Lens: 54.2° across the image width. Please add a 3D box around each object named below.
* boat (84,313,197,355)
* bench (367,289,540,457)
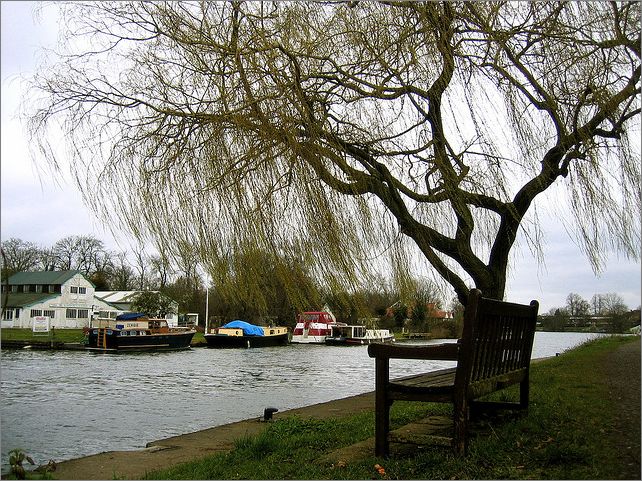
[{"bbox_3d":[-10.870,5.581,37.154,1.312,1.852,6.544,-8,-12,40],"label":"boat"},{"bbox_3d":[1.613,1.507,7.201,1.277,1.690,2.529,-8,-11,39],"label":"bench"}]
